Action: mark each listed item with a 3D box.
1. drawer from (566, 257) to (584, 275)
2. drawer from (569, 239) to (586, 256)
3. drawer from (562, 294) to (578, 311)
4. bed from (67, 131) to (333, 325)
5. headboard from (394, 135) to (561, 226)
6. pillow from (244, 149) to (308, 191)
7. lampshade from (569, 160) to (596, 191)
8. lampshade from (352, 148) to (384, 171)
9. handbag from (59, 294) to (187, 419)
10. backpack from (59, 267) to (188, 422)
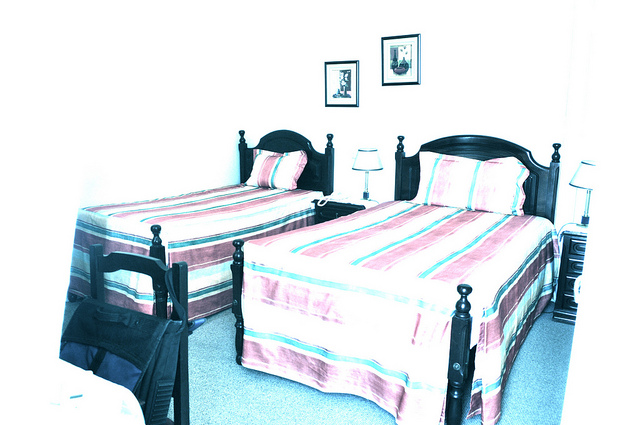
[{"bbox_3d":[1.704,0.365,3.552,0.088,0.108,0.068,5,12,16],"label":"drawer"},{"bbox_3d":[1.705,0.235,3.519,0.090,0.111,0.086,5,12,19],"label":"drawer"},{"bbox_3d":[1.666,0.600,3.531,0.083,0.136,0.136,5,12,19],"label":"drawer"},{"bbox_3d":[-0.877,-0.003,4.308,1.102,1.106,2.020,11,16,36],"label":"bed"},{"bbox_3d":[1.272,-0.241,4.095,0.738,0.552,0.033,9,14,33],"label":"headboard"},{"bbox_3d":[-0.394,-0.408,5.006,0.486,0.413,0.133,5,-17,30],"label":"pillow"},{"bbox_3d":[1.704,-0.234,3.448,0.128,0.222,0.479,7,12,24],"label":"lampshade"},{"bbox_3d":[0.403,-0.462,4.538,0.204,0.181,0.208,9,14,43],"label":"lampshade"},{"bbox_3d":[-0.647,0.472,1.877,0.439,0.420,0.168,13,-14,13],"label":"handbag"},{"bbox_3d":[-0.609,0.453,1.891,0.415,0.541,0.202,3,-16,24],"label":"backpack"}]
